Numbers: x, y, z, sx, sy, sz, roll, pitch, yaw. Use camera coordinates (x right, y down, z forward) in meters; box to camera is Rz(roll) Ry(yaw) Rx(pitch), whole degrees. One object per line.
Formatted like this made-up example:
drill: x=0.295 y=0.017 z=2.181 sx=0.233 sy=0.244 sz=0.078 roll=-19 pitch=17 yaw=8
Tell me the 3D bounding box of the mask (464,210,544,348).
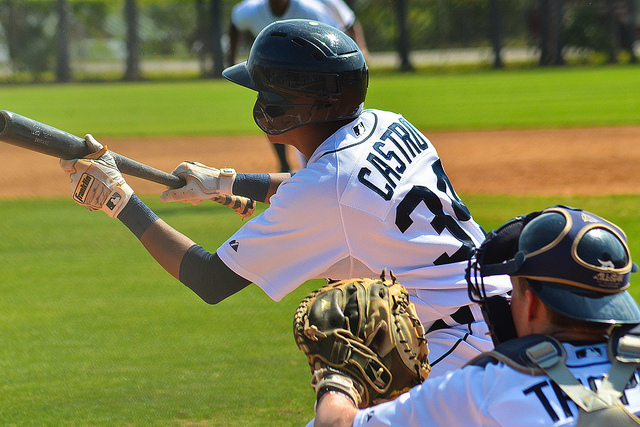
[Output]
mask: x=1.347 y=0.499 z=9.263 sx=0.780 sy=0.533 sz=1.080 roll=9 pitch=23 yaw=-5
